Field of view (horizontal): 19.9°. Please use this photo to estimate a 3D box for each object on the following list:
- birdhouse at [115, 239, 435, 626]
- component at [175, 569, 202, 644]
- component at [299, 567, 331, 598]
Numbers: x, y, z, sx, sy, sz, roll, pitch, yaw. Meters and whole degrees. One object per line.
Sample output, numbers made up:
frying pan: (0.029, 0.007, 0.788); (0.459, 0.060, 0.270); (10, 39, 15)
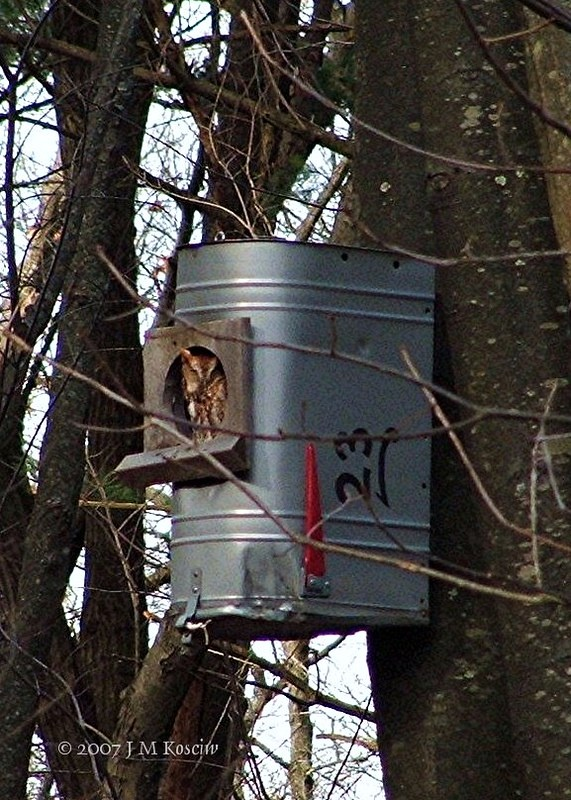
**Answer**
birdhouse: (-0.023, 0.110, 4.726); (0.923, 1.144, 0.455); (-2, -10, 4)
component: (-0.279, 0.593, 4.636); (0.067, 0.203, 0.117); (0, -10, -10)
component: (0.076, 0.527, 4.550); (0.081, 0.069, 0.061); (-2, -5, -7)
